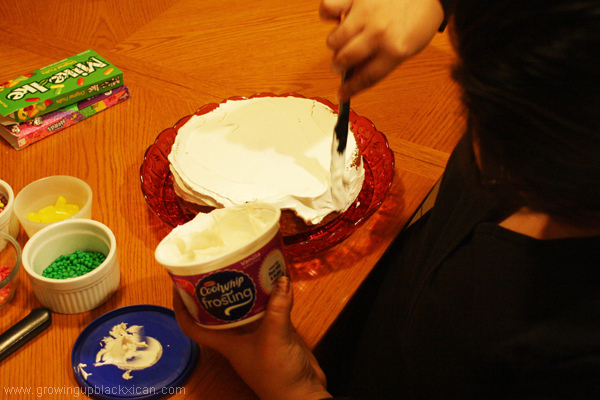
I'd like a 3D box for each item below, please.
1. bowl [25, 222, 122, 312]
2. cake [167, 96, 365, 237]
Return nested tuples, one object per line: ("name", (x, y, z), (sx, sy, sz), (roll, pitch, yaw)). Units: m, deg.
("bowl", (-0.511, 0.159, 1.165), (0.183, 0.112, 0.192), (5, 35, -4))
("cake", (-0.095, -0.110, 1.297), (0.365, 0.095, 0.382), (-20, 51, -17))
